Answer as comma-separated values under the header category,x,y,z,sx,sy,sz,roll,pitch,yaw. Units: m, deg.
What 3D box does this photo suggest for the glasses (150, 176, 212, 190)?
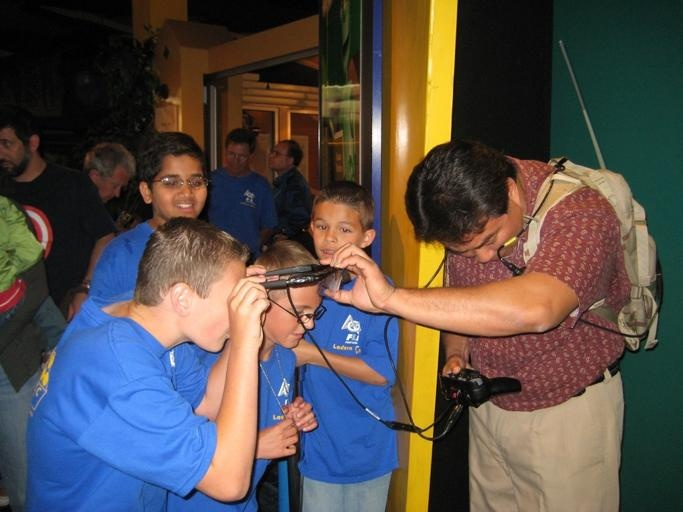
category,x,y,z,sx,sy,sz,roll,pitch,yaw
glasses,-0.828,-0.383,3.290,0.281,0.072,0.101,1,11,-18

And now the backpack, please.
category,x,y,z,sx,sy,sz,roll,pitch,yaw
backpack,1.145,-0.001,2.926,0.711,0.846,0.324,2,10,-8

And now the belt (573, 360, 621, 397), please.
category,x,y,z,sx,sy,sz,roll,pitch,yaw
belt,1.187,0.549,2.949,0.195,0.065,0.146,-16,-2,-37
